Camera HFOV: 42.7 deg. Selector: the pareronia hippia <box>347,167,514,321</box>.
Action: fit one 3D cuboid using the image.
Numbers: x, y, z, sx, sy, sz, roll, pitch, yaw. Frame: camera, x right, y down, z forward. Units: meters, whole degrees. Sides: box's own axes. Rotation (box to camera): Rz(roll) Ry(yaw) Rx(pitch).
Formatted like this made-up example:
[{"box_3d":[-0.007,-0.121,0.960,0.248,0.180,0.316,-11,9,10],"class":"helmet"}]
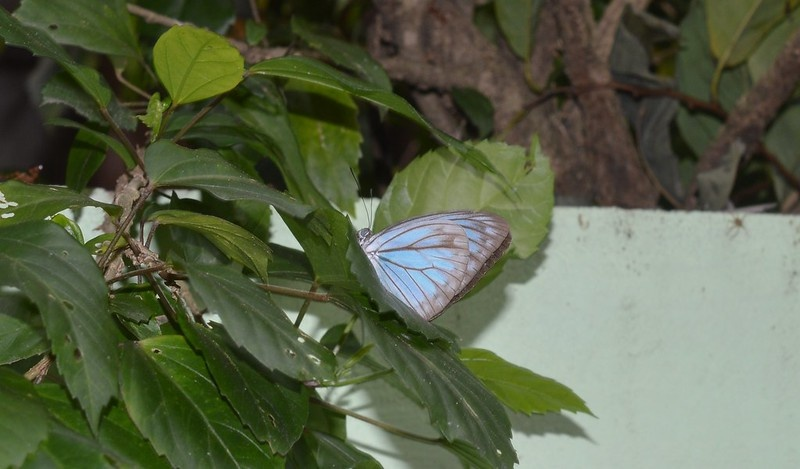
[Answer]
[{"box_3d":[0.061,0.041,2.238,0.357,0.253,0.385,8,17,8],"class":"pareronia hippia"}]
